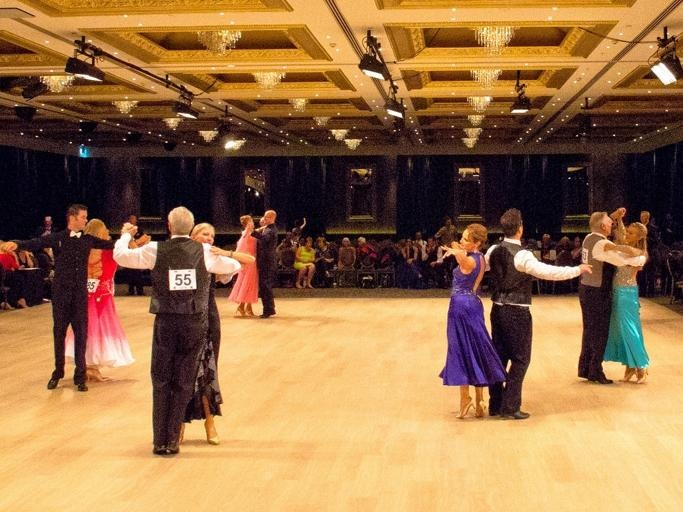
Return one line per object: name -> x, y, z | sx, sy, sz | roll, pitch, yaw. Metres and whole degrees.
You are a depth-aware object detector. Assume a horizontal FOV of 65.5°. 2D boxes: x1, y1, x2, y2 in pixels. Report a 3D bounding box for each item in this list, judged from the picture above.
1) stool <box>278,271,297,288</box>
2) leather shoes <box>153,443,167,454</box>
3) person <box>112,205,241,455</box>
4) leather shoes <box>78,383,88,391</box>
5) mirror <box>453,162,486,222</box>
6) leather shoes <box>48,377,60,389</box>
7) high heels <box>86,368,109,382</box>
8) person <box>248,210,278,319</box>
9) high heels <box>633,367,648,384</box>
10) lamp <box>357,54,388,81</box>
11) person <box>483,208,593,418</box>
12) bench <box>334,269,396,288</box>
stool -> -1.609, 0.633, 15.457 | 0.564, 0.487, 0.261 | 1, 3, 26
leather shoes -> -1.307, 1.387, 3.838 | 0.046, 0.050, 0.122 | 5, -5, -18
person -> -1.218, 0.527, 3.969 | 1.010, 1.743, 0.507 | 1, -8, -10
leather shoes -> -2.677, 1.347, 5.476 | 0.057, 0.063, 0.151 | 2, 4, -3
mirror -> 4.438, -2.194, 18.398 | 0.971, 1.960, 0.388 | 0, 3, 11
leather shoes -> -3.028, 1.335, 5.605 | 0.067, 0.076, 0.181 | 6, -1, -11
high heels -> -2.722, 1.306, 5.876 | 0.294, 0.133, 0.095 | 2, 2, -39
person -> -1.546, 0.160, 10.308 | 0.583, 2.027, 0.917 | 3, 7, 10
high heels -> 3.186, 1.252, 5.640 | 0.096, 0.163, 0.121 | 1, 3, 24
lamp -> 0.499, -2.844, 8.193 | 0.448, 0.153, 0.327 | 13, 29, -41
person -> 1.607, 0.484, 4.622 | 0.717, 1.815, 0.774 | 1, 3, 19
bench -> 0.679, 0.645, 15.628 | 1.679, 0.501, 0.324 | 0, 3, 5
